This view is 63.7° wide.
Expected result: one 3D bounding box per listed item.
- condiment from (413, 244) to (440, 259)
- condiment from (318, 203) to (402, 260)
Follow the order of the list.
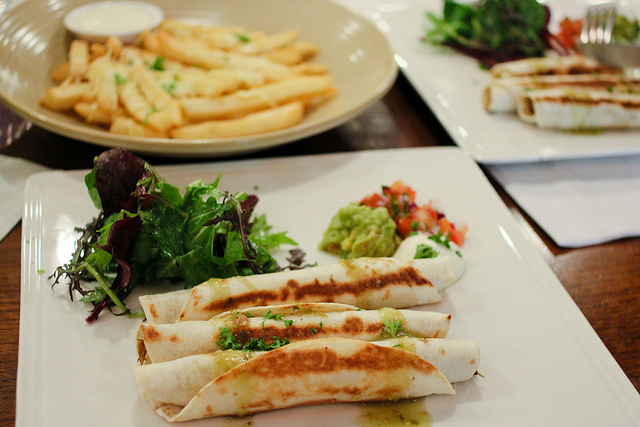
[{"bbox_3d":[0.641,0.229,3.118,0.159,0.061,0.077,-9,47,-3],"label":"condiment"},{"bbox_3d":[0.245,0.132,3.167,0.531,0.246,0.285,-7,47,-1],"label":"condiment"}]
